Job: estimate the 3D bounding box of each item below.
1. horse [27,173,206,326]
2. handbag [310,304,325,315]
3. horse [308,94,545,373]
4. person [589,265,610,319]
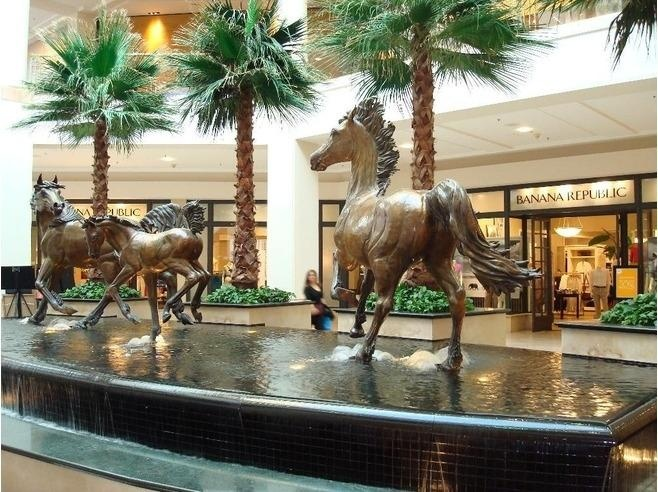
[{"bbox_3d":[-2.638,0.392,6.199,1.911,1.936,0.528,-8,-13,7],"label":"horse"},{"bbox_3d":[-0.241,1.354,9.540,0.211,0.200,0.213,-1,1,8],"label":"handbag"},{"bbox_3d":[0.759,-0.176,4.383,1.910,2.724,0.789,1,9,43],"label":"horse"},{"bbox_3d":[9.042,1.524,14.585,0.563,1.726,0.852,-2,7,31],"label":"person"}]
